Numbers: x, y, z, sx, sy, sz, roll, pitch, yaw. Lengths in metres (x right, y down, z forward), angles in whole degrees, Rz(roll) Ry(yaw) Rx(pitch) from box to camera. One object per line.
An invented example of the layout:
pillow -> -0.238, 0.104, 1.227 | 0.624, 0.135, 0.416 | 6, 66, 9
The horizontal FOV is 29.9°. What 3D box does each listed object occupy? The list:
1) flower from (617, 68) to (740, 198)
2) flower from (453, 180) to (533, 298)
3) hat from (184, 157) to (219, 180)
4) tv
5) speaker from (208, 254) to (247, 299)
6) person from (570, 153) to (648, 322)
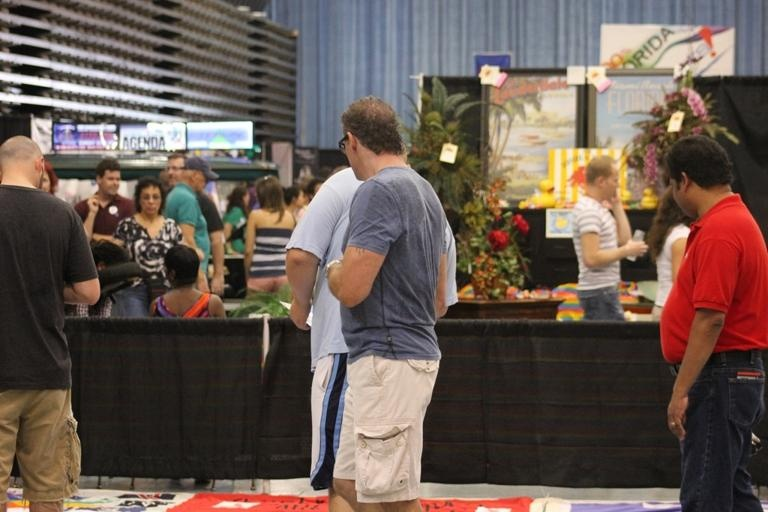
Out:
flower -> 3.207, -1.497, 16.300 | 0.646, 1.349, 1.362 | 25, -51, -32
flower -> 1.204, -0.219, 15.908 | 0.757, 1.271, 0.983 | -1, 9, 4
hat -> -2.079, -0.990, 16.344 | 0.366, 0.177, 0.225 | 23, -2, -24
tv -> -3.295, -1.694, 20.549 | 2.907, 0.522, 0.712 | -4, 10, -17
speaker -> -1.910, 0.282, 18.112 | 0.675, 0.625, 0.469 | 0, -5, -3
person -> 2.285, -0.163, 14.686 | 0.673, 1.677, 0.945 | -2, 10, 3
